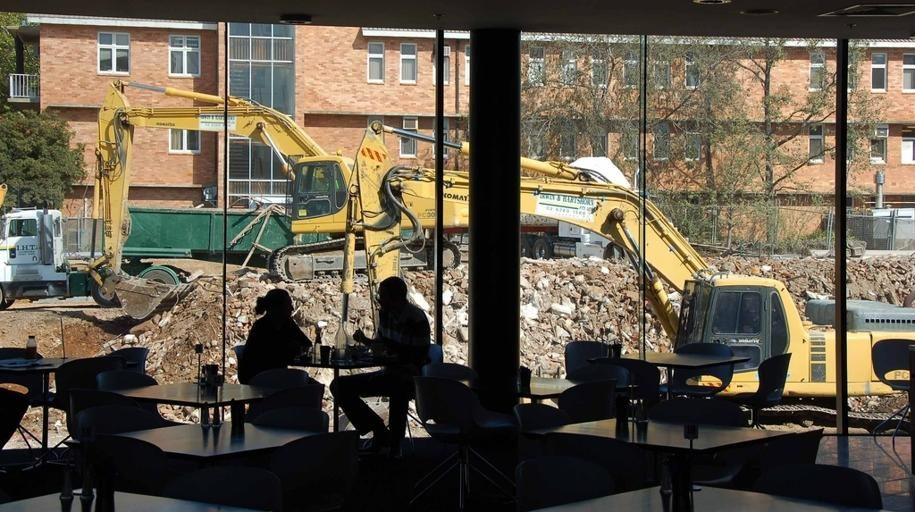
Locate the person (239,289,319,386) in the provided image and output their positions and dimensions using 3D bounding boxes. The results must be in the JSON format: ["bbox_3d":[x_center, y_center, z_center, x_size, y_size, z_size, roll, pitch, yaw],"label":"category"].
[{"bbox_3d":[-2.685,1.172,15.095,1.077,1.248,1.016,2,10,-6],"label":"person"}]

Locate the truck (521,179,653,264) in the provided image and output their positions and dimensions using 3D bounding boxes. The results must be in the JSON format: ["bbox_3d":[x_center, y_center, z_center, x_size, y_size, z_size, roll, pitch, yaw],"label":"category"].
[{"bbox_3d":[3.547,-0.470,27.778,3.177,1.415,1.241,0,-1,31],"label":"truck"}]

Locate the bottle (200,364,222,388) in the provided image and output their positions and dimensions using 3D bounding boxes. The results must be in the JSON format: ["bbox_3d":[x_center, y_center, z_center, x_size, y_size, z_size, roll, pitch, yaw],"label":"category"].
[{"bbox_3d":[-3.339,1.627,13.929,0.355,0.305,0.235,-1,5,-7],"label":"bottle"}]

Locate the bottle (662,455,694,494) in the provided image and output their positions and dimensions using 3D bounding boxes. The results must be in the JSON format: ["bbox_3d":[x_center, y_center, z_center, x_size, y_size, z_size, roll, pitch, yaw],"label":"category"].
[{"bbox_3d":[2.520,2.502,11.645,0.438,0.499,0.416,0,-8,-1],"label":"bottle"}]

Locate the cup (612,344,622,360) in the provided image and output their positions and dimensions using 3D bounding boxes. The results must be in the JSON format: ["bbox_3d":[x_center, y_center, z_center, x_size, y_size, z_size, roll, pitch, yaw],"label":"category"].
[{"bbox_3d":[2.389,1.445,15.348,0.203,0.232,0.192,-1,2,0],"label":"cup"}]
